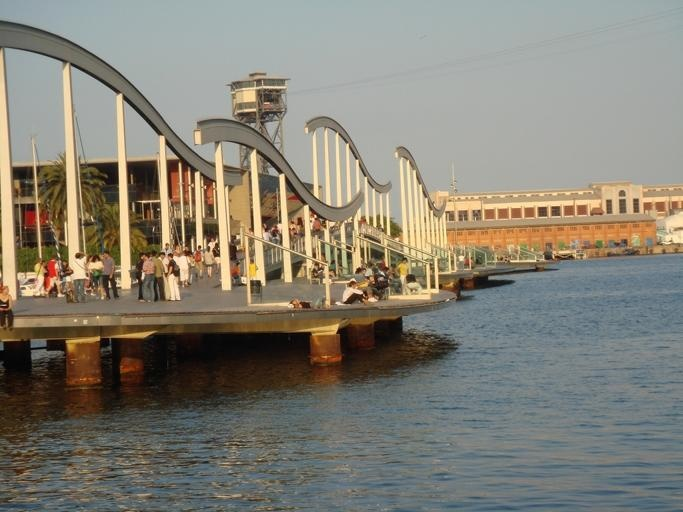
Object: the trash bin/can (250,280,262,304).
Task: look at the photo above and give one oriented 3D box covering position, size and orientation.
[{"bbox_3d":[-2.735,1.138,46.520,0.333,0.640,0.681,-2,9,0],"label":"trash bin/can"}]
